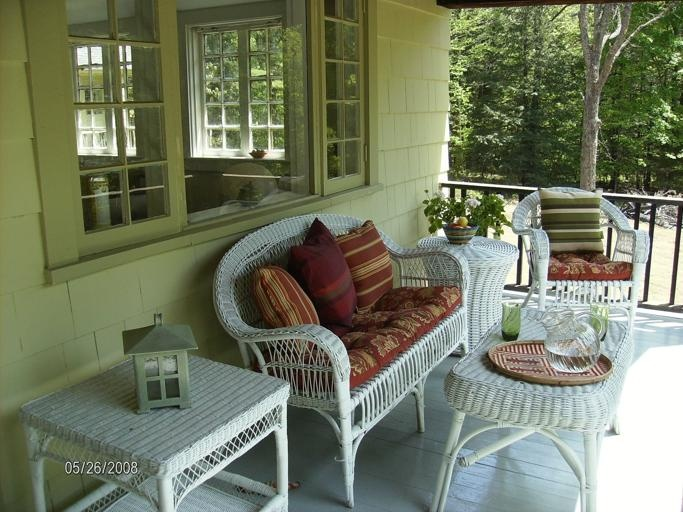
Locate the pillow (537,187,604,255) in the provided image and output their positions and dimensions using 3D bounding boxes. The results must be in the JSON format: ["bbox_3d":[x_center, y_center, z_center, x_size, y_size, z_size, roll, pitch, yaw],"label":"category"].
[{"bbox_3d":[1.740,-0.255,4.070,0.594,0.526,0.197,1,-8,-2],"label":"pillow"}]

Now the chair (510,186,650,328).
[{"bbox_3d":[1.740,-0.031,4.036,0.954,0.893,0.829,-3,15,-13],"label":"chair"}]

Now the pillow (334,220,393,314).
[{"bbox_3d":[0.116,0.077,3.039,0.176,0.440,0.418,-14,19,33],"label":"pillow"}]

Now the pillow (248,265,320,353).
[{"bbox_3d":[-0.267,0.220,2.510,0.164,0.363,0.377,-31,-4,17],"label":"pillow"}]

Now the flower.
[{"bbox_3d":[0.929,-0.319,4.004,0.574,0.275,0.496,0,1,24],"label":"flower"}]

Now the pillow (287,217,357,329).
[{"bbox_3d":[-0.104,0.106,2.759,0.297,0.489,0.425,-12,23,13],"label":"pillow"}]
